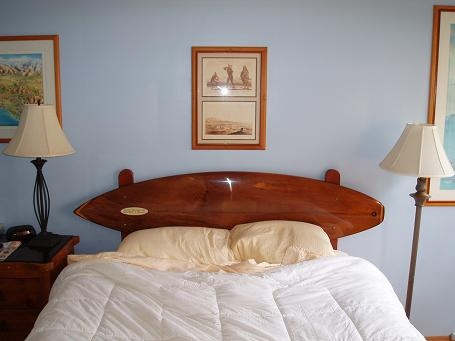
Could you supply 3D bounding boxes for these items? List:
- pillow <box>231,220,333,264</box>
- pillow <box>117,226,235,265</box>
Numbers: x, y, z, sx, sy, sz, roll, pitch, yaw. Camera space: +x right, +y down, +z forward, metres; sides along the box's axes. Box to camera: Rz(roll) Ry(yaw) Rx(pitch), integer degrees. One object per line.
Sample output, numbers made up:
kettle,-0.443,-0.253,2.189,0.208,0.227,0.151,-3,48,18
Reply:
pillow,0.366,0.504,2.623,0.491,0.132,0.347,2,4,0
pillow,-0.335,0.520,2.646,0.578,0.135,0.323,1,25,-1
